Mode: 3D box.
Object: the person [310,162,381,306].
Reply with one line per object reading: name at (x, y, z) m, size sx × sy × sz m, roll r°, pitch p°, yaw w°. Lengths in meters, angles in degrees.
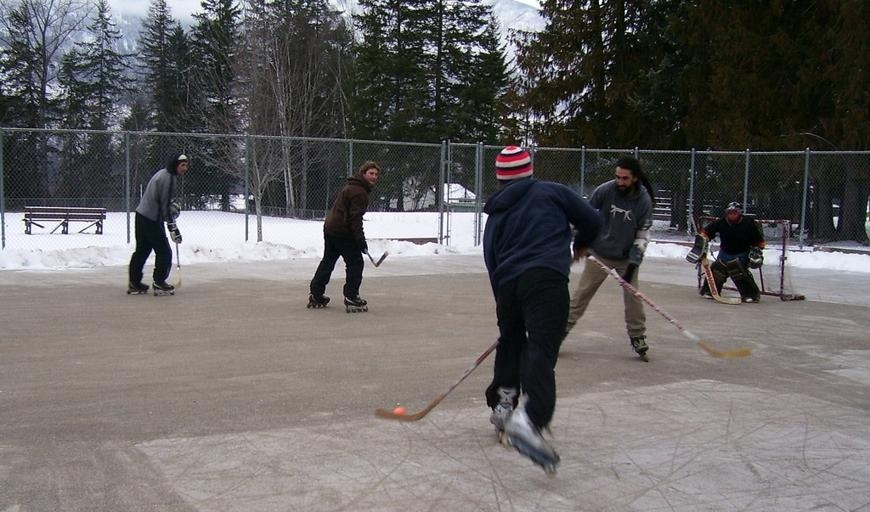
person at (-1.607, -0.328, 12.695) m, size 1.162 × 2.642 × 0.971 m, roll 0°, pitch 14°, yaw -6°
